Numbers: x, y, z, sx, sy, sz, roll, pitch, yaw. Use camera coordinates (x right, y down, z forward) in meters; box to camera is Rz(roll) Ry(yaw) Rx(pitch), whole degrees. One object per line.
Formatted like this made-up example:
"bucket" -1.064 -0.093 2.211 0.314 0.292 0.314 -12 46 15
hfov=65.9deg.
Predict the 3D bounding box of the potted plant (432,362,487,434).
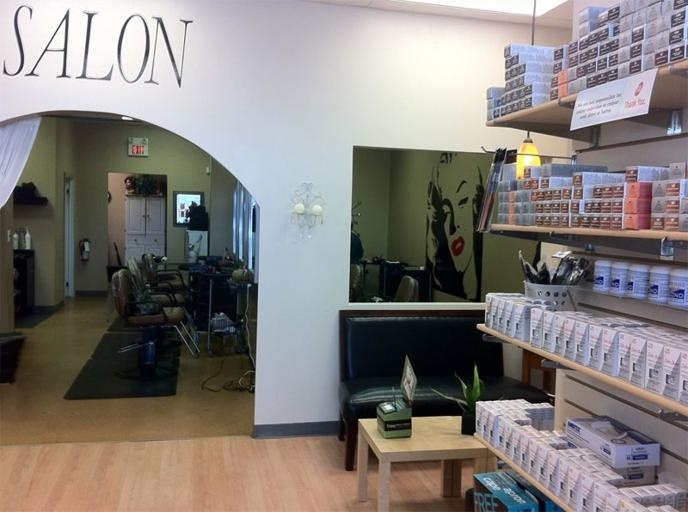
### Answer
"potted plant" 0.804 0.974 3.515 0.346 0.414 0.279 -7 -26 27

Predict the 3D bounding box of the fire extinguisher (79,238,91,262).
"fire extinguisher" -5.099 -0.121 10.449 0.207 0.453 0.109 -1 6 -30

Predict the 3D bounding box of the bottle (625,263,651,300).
"bottle" 1.368 0.110 2.446 0.096 0.168 0.102 1 8 0

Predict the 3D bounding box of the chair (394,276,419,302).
"chair" 0.555 0.291 4.745 0.157 0.188 0.104 22 5 31

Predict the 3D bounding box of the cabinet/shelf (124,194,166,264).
"cabinet/shelf" -4.195 -0.581 11.164 0.820 1.528 0.460 1 15 -21

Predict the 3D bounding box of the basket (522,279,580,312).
"basket" 1.078 0.195 2.742 0.156 0.163 0.162 0 1 20

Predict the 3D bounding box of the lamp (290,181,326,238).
"lamp" -0.300 -0.395 4.485 0.278 0.460 0.097 1 5 -4

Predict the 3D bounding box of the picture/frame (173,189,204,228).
"picture/frame" -3.101 -0.943 10.519 0.774 0.954 0.065 1 7 -6

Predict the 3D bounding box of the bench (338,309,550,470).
"bench" 0.762 1.049 4.360 1.526 1.079 0.765 0 5 -5

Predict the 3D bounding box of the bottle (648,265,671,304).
"bottle" 1.397 0.123 2.340 0.076 0.157 0.034 5 7 32

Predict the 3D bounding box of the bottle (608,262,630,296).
"bottle" 1.317 0.101 2.512 0.088 0.159 0.090 1 2 0

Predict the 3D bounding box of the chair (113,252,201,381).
"chair" -2.135 0.709 6.846 1.308 1.807 1.206 0 3 -12

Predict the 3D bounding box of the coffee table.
"coffee table" 0.509 1.288 3.454 0.637 0.443 0.637 1 -2 -14
